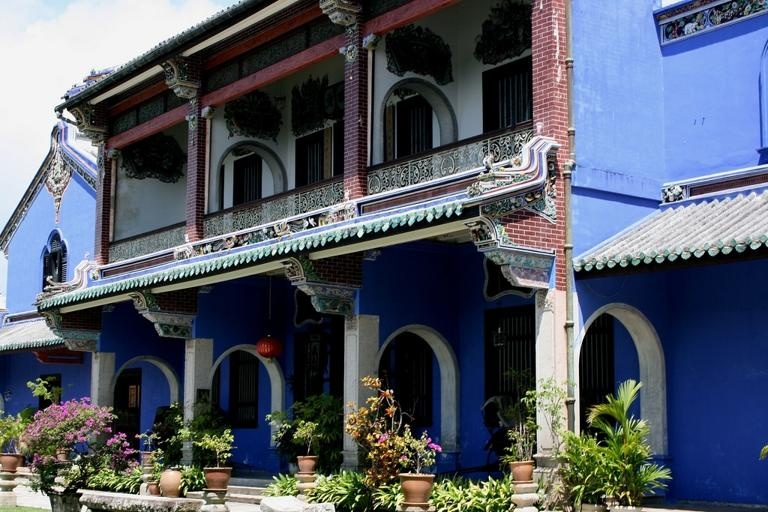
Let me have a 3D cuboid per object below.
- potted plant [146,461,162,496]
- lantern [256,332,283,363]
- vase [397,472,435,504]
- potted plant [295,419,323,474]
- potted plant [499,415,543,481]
[{"bbox_3d":[-4.765,4.600,22.643,0.254,0.679,0.655,4,-18,-13],"label":"potted plant"},{"bbox_3d":[-2.607,1.994,24.676,0.504,0.587,0.533,3,-5,-18],"label":"lantern"},{"bbox_3d":[0.515,3.935,18.612,0.505,0.372,0.511,1,-18,-1],"label":"vase"},{"bbox_3d":[-1.505,3.690,21.262,0.538,1.153,0.906,1,-17,-4],"label":"potted plant"},{"bbox_3d":[2.342,3.403,19.417,0.633,1.380,1.906,-2,-18,5],"label":"potted plant"}]
